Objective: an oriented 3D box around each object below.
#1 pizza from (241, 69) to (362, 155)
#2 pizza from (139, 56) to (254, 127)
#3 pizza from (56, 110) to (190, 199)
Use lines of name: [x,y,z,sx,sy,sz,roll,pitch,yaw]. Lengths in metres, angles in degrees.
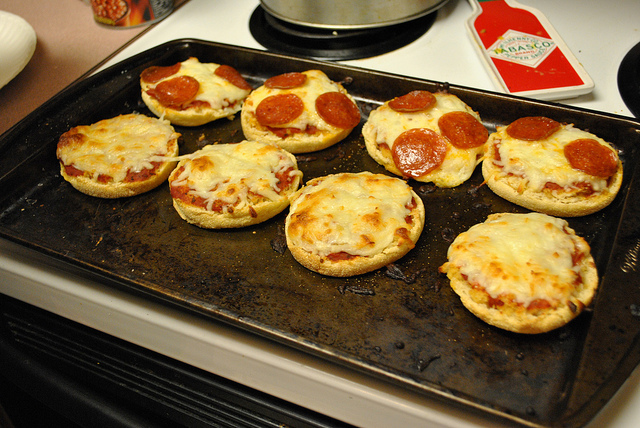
pizza: [-0.181,-0.979,5.162,1.100,0.280,0.898,7,54,3]
pizza: [-1.126,-1.095,5.243,0.809,0.204,0.711,10,40,13]
pizza: [-1.615,-0.509,4.911,0.928,0.248,0.783,-24,50,-24]
